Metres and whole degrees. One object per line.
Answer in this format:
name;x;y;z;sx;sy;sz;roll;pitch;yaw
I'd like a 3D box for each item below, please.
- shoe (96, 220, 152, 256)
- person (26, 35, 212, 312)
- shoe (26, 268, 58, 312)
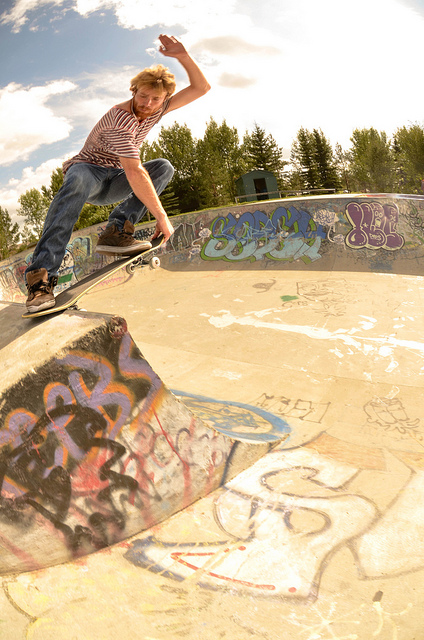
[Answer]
shoe;-0.804;-0.698;4.153;0.623;0.399;0.229;-1;48;-10
person;-0.777;-1.263;3.752;1.120;2.113;1.500;21;20;31
shoe;-1.240;-0.211;3.418;0.208;0.324;0.317;1;9;-21
